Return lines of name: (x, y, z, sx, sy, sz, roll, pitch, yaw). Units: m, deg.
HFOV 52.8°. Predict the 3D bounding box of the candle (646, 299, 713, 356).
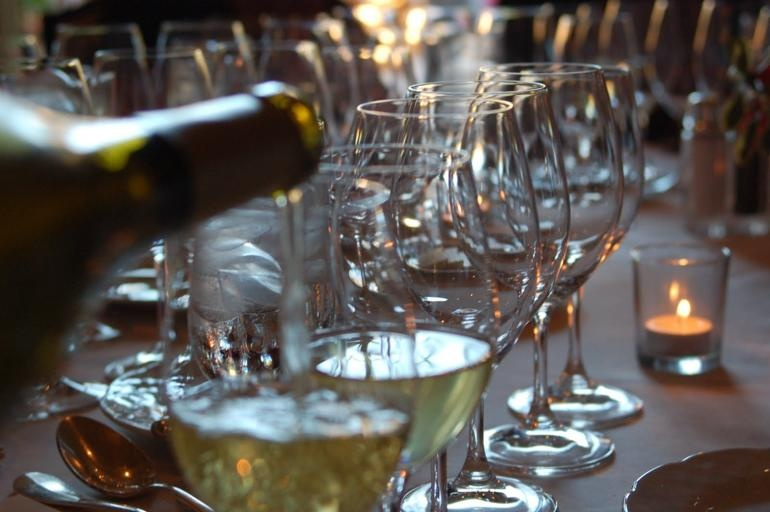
candle: (0.366, 0.086, 0.951, 0.058, 0.043, 0.059, -1, 13, 7)
